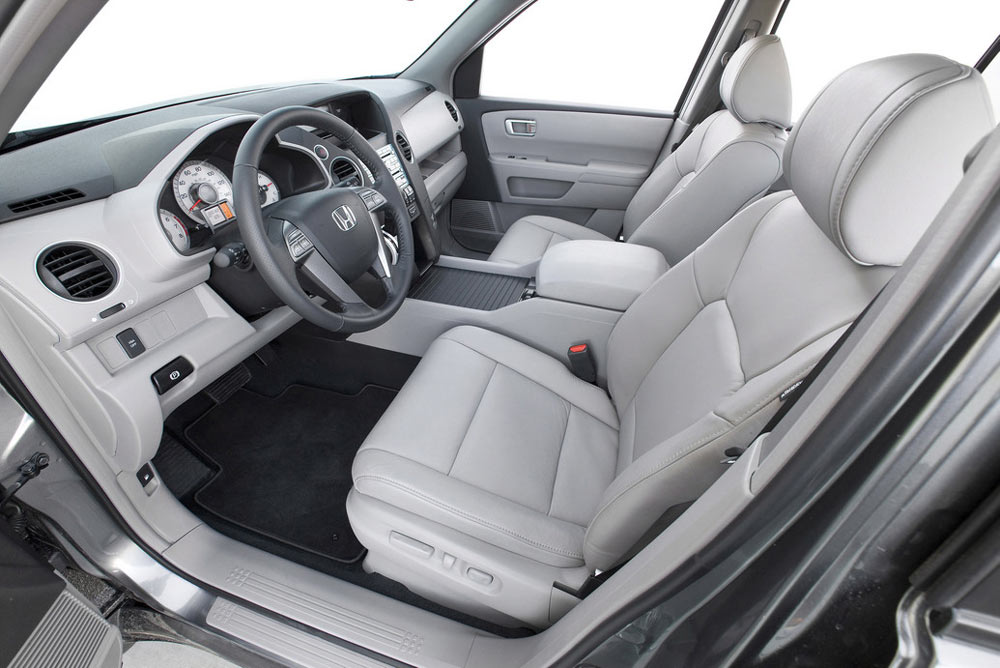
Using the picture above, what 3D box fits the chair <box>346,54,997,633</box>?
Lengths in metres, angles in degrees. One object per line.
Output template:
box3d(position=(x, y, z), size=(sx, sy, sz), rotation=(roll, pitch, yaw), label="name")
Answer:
box3d(position=(0.258, 0.046, 1.392), size=(1.091, 1.188, 0.810), rotation=(12, 40, 16), label="chair")

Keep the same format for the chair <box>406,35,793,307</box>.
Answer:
box3d(position=(0.387, -0.530, 2.188), size=(1.058, 0.769, 0.656), rotation=(-3, 21, 6), label="chair")
